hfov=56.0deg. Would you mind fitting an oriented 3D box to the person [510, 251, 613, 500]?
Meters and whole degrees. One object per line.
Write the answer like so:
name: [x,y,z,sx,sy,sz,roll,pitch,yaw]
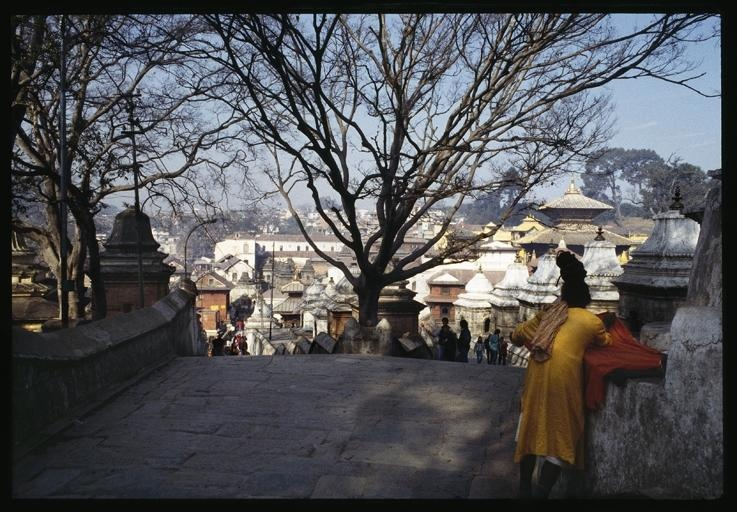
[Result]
person: [1.849,1.243,6.592,0.698,2.134,0.704,7,12,21]
